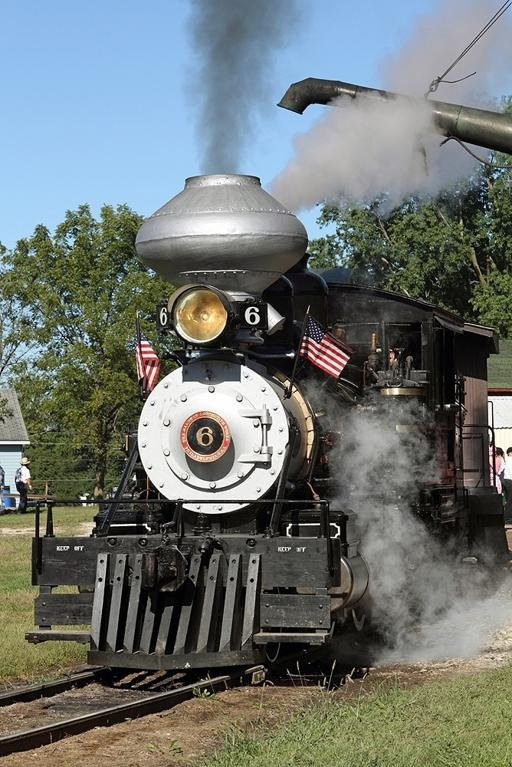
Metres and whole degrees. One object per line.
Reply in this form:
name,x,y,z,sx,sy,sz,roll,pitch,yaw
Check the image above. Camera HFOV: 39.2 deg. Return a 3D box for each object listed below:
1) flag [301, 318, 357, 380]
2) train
flag,0.618,-0.318,6.578,0.543,0.380,0.056,35,34,26
train,0.654,0.459,7.264,2.034,4.121,5.441,-3,-8,29
